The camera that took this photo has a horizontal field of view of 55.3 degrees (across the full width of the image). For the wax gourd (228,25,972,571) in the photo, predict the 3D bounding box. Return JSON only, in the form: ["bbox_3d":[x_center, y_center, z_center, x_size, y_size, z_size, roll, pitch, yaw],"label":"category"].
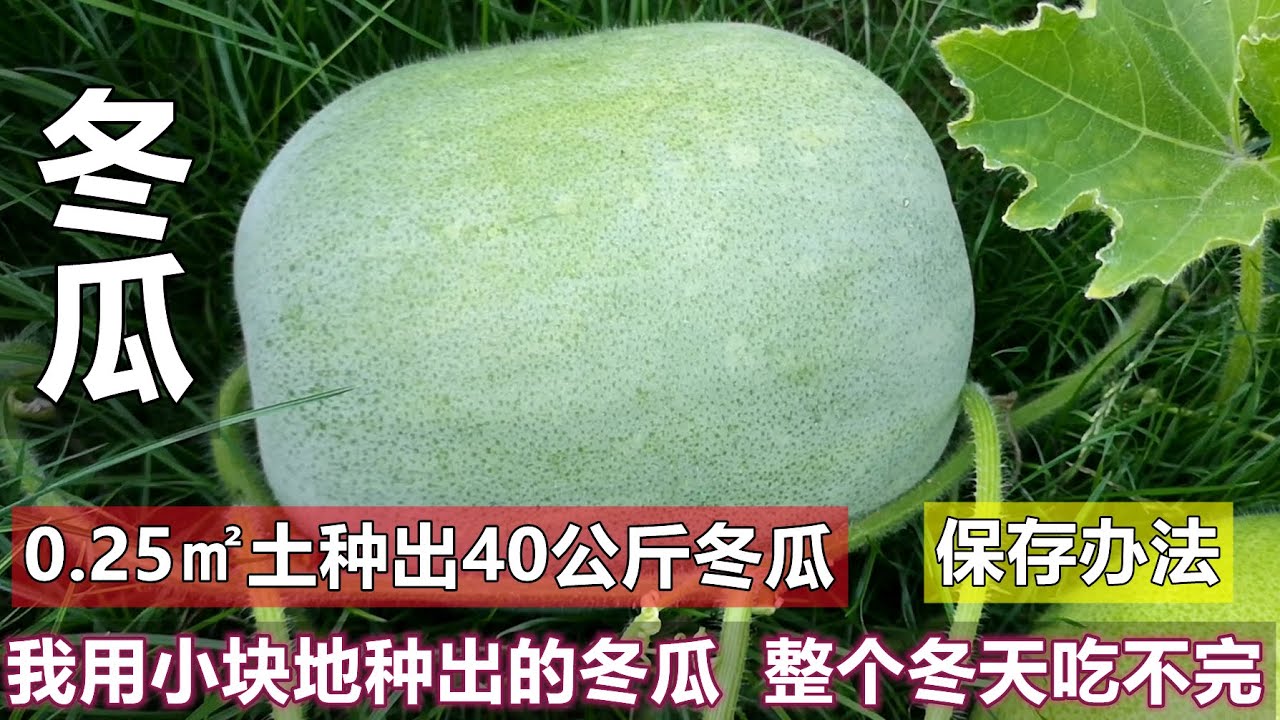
[{"bbox_3d":[-0.055,-0.137,2.172,1.058,0.749,0.760,-2,94,-1],"label":"wax gourd"}]
